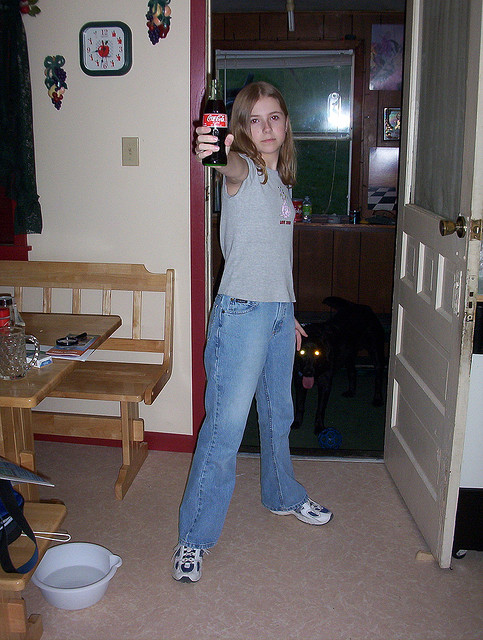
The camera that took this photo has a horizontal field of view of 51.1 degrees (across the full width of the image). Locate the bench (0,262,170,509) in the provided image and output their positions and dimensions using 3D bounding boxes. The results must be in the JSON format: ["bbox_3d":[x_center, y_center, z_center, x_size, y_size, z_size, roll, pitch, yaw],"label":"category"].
[{"bbox_3d":[-0.573,0.216,1.918,0.730,0.812,0.348,1,11,4],"label":"bench"}]

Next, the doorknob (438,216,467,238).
[{"bbox_3d":[0.580,-0.247,1.400,0.055,0.077,0.064,-3,5,1],"label":"doorknob"}]

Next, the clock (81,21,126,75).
[{"bbox_3d":[-0.558,-1.120,2.068,0.164,0.198,0.025,4,17,11],"label":"clock"}]

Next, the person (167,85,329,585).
[{"bbox_3d":[-0.002,0.060,1.504,0.308,1.401,0.673,5,8,34],"label":"person"}]

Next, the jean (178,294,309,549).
[{"bbox_3d":[-0.009,0.353,1.694,0.239,0.982,0.600,8,14,35],"label":"jean"}]

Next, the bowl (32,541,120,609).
[{"bbox_3d":[-0.454,0.717,1.404,0.228,0.125,0.229,1,8,0],"label":"bowl"}]

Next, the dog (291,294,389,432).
[{"bbox_3d":[0.517,0.229,3.040,0.313,0.620,1.030,13,16,23],"label":"dog"}]
